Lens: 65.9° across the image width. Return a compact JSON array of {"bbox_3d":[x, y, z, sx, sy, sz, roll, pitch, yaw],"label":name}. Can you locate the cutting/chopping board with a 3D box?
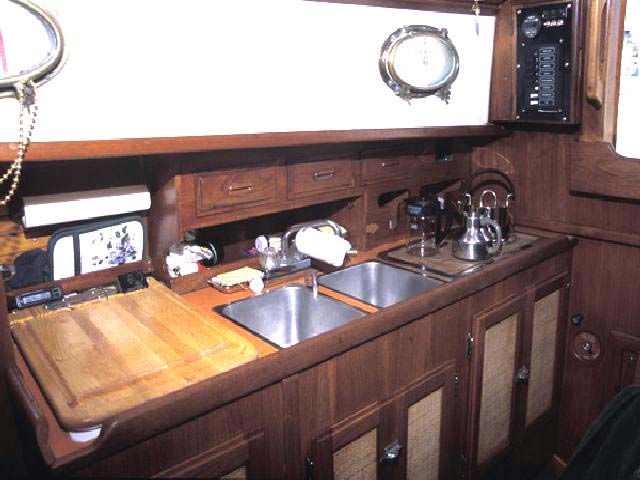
[{"bbox_3d":[-0.639,0.344,1.656,0.586,0.172,0.703,-15,16,-37],"label":"cutting/chopping board"}]

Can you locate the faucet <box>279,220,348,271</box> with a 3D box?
[{"bbox_3d":[-0.027,0.014,2.311,0.206,0.133,0.287,6,7,-14],"label":"faucet"}]

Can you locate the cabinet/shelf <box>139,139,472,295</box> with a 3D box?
[{"bbox_3d":[0.028,-0.204,2.556,1.773,0.555,0.456,-14,13,-37],"label":"cabinet/shelf"}]

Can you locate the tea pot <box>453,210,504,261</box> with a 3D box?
[{"bbox_3d":[0.736,-0.049,2.452,0.189,0.259,0.274,-13,22,-28],"label":"tea pot"}]

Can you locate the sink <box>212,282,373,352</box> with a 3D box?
[{"bbox_3d":[-0.113,0.326,2.029,0.355,0.218,0.350,-14,19,-40],"label":"sink"}]

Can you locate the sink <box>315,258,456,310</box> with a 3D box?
[{"bbox_3d":[0.280,0.204,2.279,0.320,0.198,0.316,-21,25,-40],"label":"sink"}]
